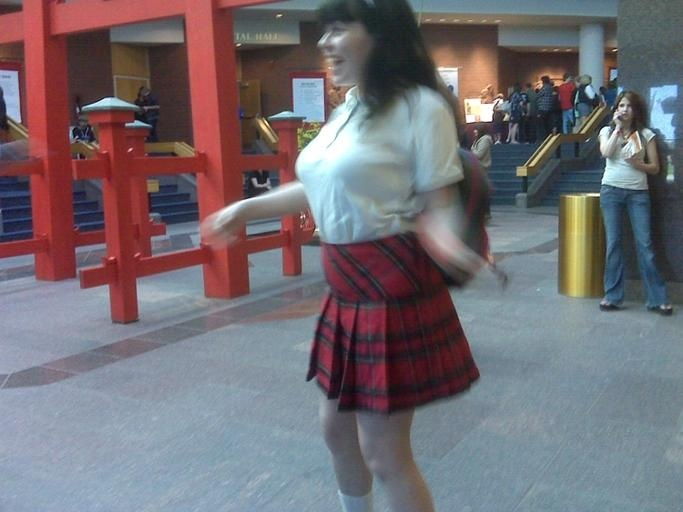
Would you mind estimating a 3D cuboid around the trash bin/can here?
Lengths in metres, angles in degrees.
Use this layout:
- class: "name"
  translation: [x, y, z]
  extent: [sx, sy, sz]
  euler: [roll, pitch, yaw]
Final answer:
- class: "trash bin/can"
  translation: [2.549, -0.109, 5.421]
  extent: [0.460, 1.082, 0.192]
  euler: [2, 11, 23]

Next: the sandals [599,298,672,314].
- class: "sandals"
  translation: [2.848, 0.496, 4.959]
  extent: [0.575, 0.108, 0.251]
  euler: [2, 3, 28]

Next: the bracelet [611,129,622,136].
- class: "bracelet"
  translation: [2.670, -1.199, 4.955]
  extent: [0.025, 0.071, 0.052]
  euler: [9, 34, -3]

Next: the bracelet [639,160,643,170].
- class: "bracelet"
  translation: [2.886, -0.873, 4.915]
  extent: [0.020, 0.087, 0.063]
  euler: [5, 6, 6]

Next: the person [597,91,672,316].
- class: "person"
  translation: [2.853, -0.530, 4.972]
  extent: [0.651, 2.088, 0.570]
  euler: [3, 11, 27]
